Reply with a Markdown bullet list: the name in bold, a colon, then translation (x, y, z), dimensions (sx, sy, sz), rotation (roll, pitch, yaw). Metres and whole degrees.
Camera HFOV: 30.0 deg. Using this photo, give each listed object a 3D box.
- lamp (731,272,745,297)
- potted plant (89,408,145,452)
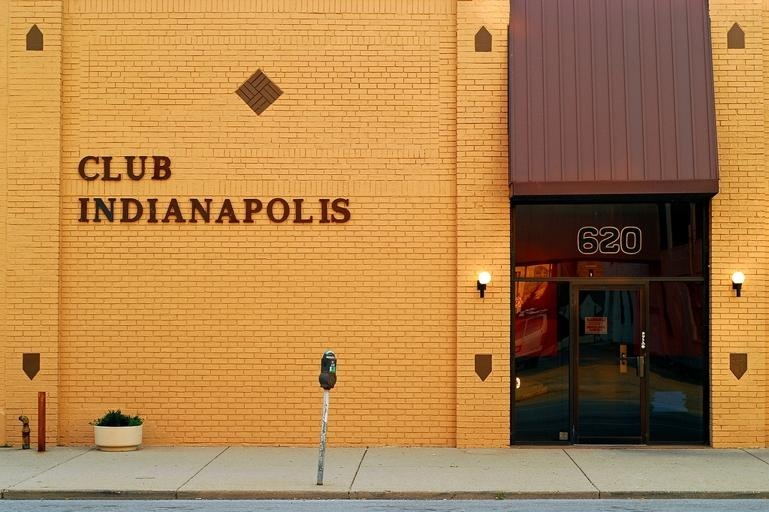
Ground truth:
- **lamp**: translation (7.351, 0.589, 30.036), dimensions (0.291, 0.513, 0.209), rotation (-3, -9, 5)
- **potted plant**: translation (-5.595, 3.647, 29.836), dimensions (0.899, 0.496, 0.854), rotation (0, -4, 8)
